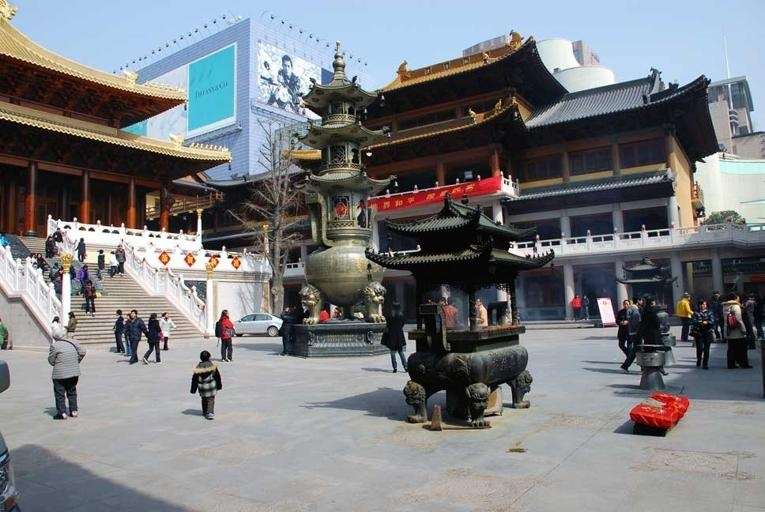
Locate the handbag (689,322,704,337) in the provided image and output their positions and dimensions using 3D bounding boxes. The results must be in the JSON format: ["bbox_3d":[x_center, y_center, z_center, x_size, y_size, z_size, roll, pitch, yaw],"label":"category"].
[{"bbox_3d":[9.295,2.138,19.228,0.360,0.359,0.269,4,-8,-14],"label":"handbag"}]

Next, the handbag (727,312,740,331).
[{"bbox_3d":[9.786,1.787,18.305,0.274,0.557,0.262,3,8,31],"label":"handbag"}]

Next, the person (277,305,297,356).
[{"bbox_3d":[-3.468,2.847,24.489,0.635,1.627,1.263,-3,7,-8],"label":"person"}]

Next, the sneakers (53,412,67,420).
[{"bbox_3d":[-7.451,3.634,15.109,0.376,0.181,0.116,7,1,20],"label":"sneakers"}]

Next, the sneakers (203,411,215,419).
[{"bbox_3d":[-3.967,3.617,15.008,0.230,0.128,0.211,-4,7,-19],"label":"sneakers"}]

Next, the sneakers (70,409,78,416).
[{"bbox_3d":[-7.167,3.612,15.243,0.137,0.097,0.136,-4,-5,-18],"label":"sneakers"}]

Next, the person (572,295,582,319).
[{"bbox_3d":[10.873,2.900,36.900,0.563,1.161,0.983,1,7,18],"label":"person"}]

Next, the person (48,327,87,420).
[{"bbox_3d":[-7.398,2.686,15.368,0.715,2.080,0.898,-5,8,-27],"label":"person"}]

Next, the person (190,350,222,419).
[{"bbox_3d":[-4.220,2.950,15.618,0.704,1.432,1.653,-3,7,-15],"label":"person"}]

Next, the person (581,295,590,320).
[{"bbox_3d":[11.661,2.884,37.717,0.384,1.316,1.878,0,7,17],"label":"person"}]
